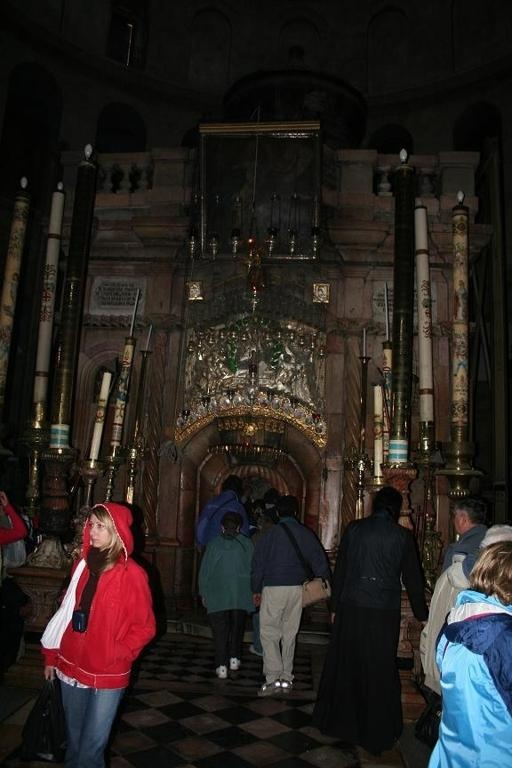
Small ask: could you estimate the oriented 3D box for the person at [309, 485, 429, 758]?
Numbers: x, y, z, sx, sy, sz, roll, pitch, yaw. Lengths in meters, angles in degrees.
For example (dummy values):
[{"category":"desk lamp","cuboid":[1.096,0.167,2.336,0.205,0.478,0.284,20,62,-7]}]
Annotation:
[{"category":"person","cuboid":[0.780,1.546,4.362,0.743,1.690,0.308,0,-12,14]}]
